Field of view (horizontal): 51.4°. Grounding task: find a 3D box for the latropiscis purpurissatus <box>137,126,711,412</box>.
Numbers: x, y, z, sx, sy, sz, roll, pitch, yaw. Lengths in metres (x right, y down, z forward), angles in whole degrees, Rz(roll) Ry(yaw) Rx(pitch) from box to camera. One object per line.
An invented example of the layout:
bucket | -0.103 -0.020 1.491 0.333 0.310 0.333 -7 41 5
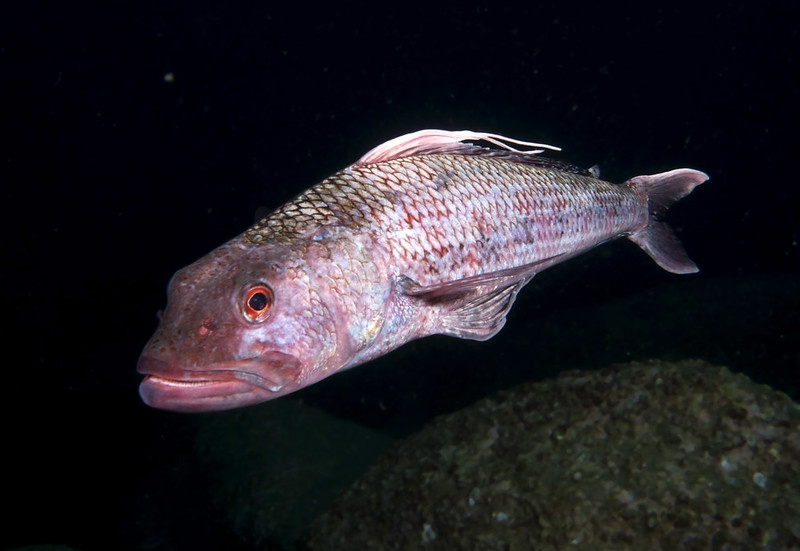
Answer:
latropiscis purpurissatus | 0.641 -0.271 8.068 6.434 2.339 1.939 -16 7 -29
